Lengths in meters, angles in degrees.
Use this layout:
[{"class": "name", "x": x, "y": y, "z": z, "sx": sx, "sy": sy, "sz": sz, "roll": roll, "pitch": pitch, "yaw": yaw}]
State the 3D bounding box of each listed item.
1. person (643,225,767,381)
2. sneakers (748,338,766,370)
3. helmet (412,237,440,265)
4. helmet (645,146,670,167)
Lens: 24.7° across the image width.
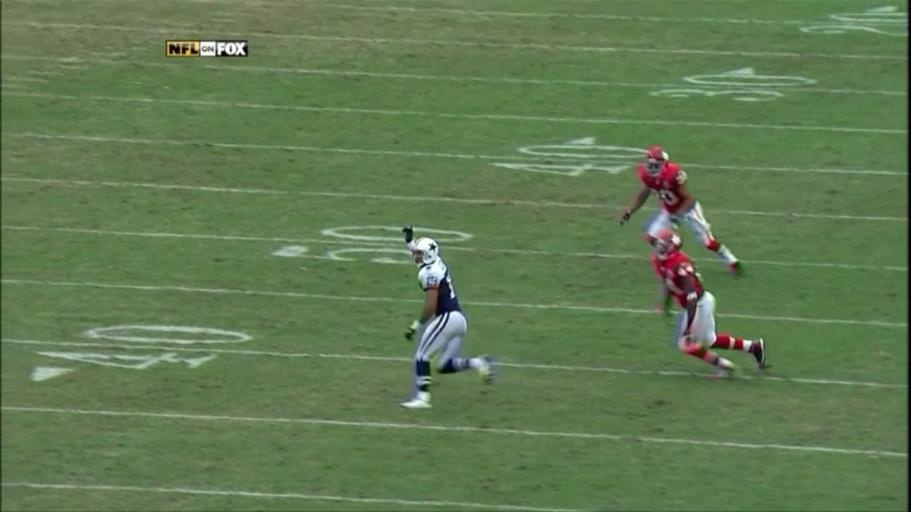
[{"class": "person", "x": 3.798, "y": 0.697, "z": 31.580, "sx": 1.617, "sy": 2.240, "sz": 0.557, "roll": -1, "pitch": 13, "yaw": 3}, {"class": "sneakers", "x": 4.669, "y": 1.458, "z": 31.809, "sx": 0.329, "sy": 0.485, "sz": 0.206, "roll": -15, "pitch": 22, "yaw": 4}, {"class": "helmet", "x": -0.475, "y": -0.102, "z": 31.276, "sx": 0.388, "sy": 0.411, "sz": 0.318, "roll": 9, "pitch": 16, "yaw": 44}, {"class": "helmet", "x": 3.186, "y": -1.621, "z": 32.659, "sx": 0.323, "sy": 0.277, "sz": 0.196, "roll": 0, "pitch": 12, "yaw": 3}]
